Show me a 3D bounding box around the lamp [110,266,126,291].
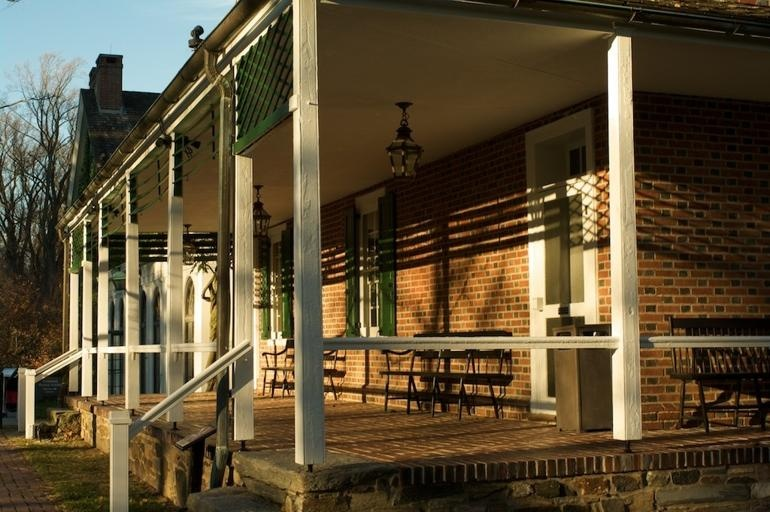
[{"bbox_3d":[-8.837,0.730,31.632,0.401,0.656,0.630,5,-14,-27],"label":"lamp"}]

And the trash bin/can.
[{"bbox_3d":[2.429,1.636,11.610,0.663,0.983,0.470,-2,-10,12],"label":"trash bin/can"}]

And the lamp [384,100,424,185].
[{"bbox_3d":[0.267,-1.492,12.832,0.431,0.873,0.928,1,-11,-4],"label":"lamp"}]

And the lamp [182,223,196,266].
[{"bbox_3d":[-4.248,-0.316,20.765,0.253,1.009,1.675,2,-12,-11],"label":"lamp"}]
